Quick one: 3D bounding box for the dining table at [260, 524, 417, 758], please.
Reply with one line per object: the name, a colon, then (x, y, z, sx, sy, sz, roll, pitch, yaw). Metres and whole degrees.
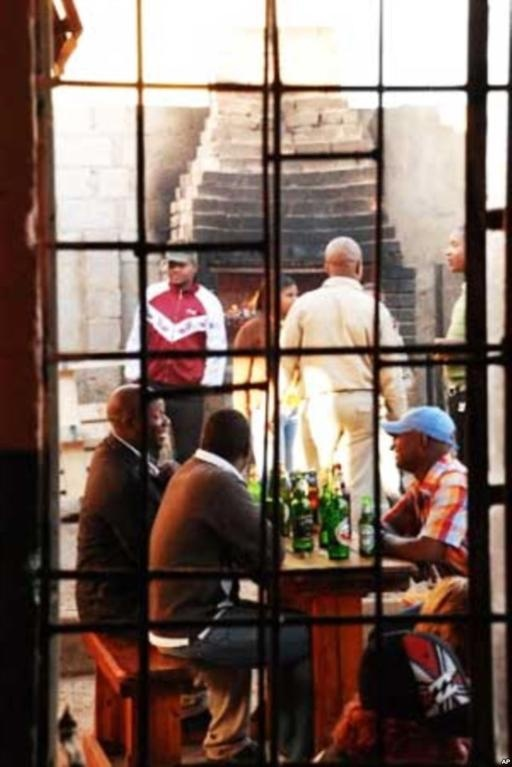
dining table: (0.106, 0.530, 2.719, 0.328, 0.591, 0.323, 0, 1, -27)

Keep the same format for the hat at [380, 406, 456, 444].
hat: (0.330, 0.081, 2.511, 0.104, 0.069, 0.078, 12, -4, 5)
